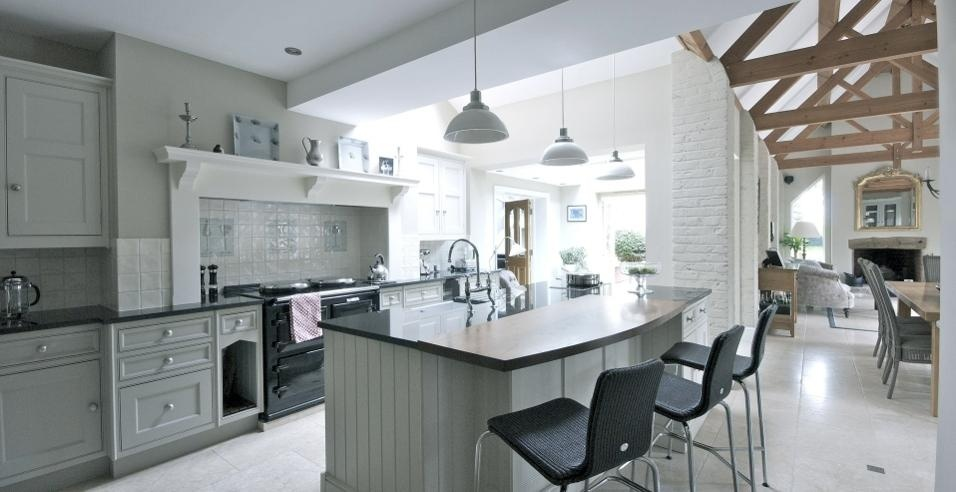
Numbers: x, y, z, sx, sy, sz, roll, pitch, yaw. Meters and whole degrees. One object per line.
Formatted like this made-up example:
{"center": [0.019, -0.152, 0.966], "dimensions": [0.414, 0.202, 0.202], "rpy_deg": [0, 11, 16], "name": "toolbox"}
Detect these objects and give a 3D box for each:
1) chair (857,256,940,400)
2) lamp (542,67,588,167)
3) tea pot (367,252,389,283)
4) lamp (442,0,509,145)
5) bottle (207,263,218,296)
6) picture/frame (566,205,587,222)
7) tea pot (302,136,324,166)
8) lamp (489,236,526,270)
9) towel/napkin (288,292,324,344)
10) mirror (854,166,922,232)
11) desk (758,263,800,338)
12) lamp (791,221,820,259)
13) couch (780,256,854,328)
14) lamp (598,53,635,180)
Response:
{"center": [5.899, 1.214, 8.297], "dimensions": [0.944, 1.440, 2.040], "rpy_deg": [-3, -1, 23], "name": "chair"}
{"center": [1.208, -1.867, 8.300], "dimensions": [0.559, 1.622, 2.264], "rpy_deg": [-1, 2, 10], "name": "lamp"}
{"center": [-1.443, 0.313, 8.439], "dimensions": [0.275, 0.384, 0.466], "rpy_deg": [-2, 2, -7], "name": "tea pot"}
{"center": [-0.041, -1.966, 6.520], "dimensions": [0.673, 1.599, 0.557], "rpy_deg": [0, 3, 26], "name": "lamp"}
{"center": [-3.334, 0.421, 7.419], "dimensions": [0.108, 0.380, 0.357], "rpy_deg": [-3, 2, -23], "name": "bottle"}
{"center": [2.349, -0.763, 13.984], "dimensions": [0.481, 0.329, 0.045], "rpy_deg": [0, -2, 28], "name": "picture/frame"}
{"center": [-2.221, -1.259, 7.863], "dimensions": [0.250, 0.393, 0.193], "rpy_deg": [-2, 2, -20], "name": "tea pot"}
{"center": [0.504, 0.168, 11.656], "dimensions": [0.516, 0.704, 0.845], "rpy_deg": [-3, -2, -32], "name": "lamp"}
{"center": [-2.179, 0.904, 7.368], "dimensions": [0.099, 0.775, 0.687], "rpy_deg": [1, -6, -38], "name": "towel/napkin"}
{"center": [9.000, -1.038, 12.870], "dimensions": [1.695, 1.648, 0.197], "rpy_deg": [2, 7, 29], "name": "mirror"}
{"center": [4.678, 0.852, 9.192], "dimensions": [0.597, 1.060, 1.416], "rpy_deg": [0, -1, 38], "name": "desk"}
{"center": [6.861, -0.145, 12.414], "dimensions": [0.644, 0.608, 0.563], "rpy_deg": [4, -4, -24], "name": "lamp"}
{"center": [6.429, 0.842, 10.657], "dimensions": [0.983, 0.918, 1.147], "rpy_deg": [13, -11, -41], "name": "couch"}
{"center": [1.932, -1.866, 8.404], "dimensions": [0.456, 1.881, 1.391], "rpy_deg": [-1, 2, 14], "name": "lamp"}
